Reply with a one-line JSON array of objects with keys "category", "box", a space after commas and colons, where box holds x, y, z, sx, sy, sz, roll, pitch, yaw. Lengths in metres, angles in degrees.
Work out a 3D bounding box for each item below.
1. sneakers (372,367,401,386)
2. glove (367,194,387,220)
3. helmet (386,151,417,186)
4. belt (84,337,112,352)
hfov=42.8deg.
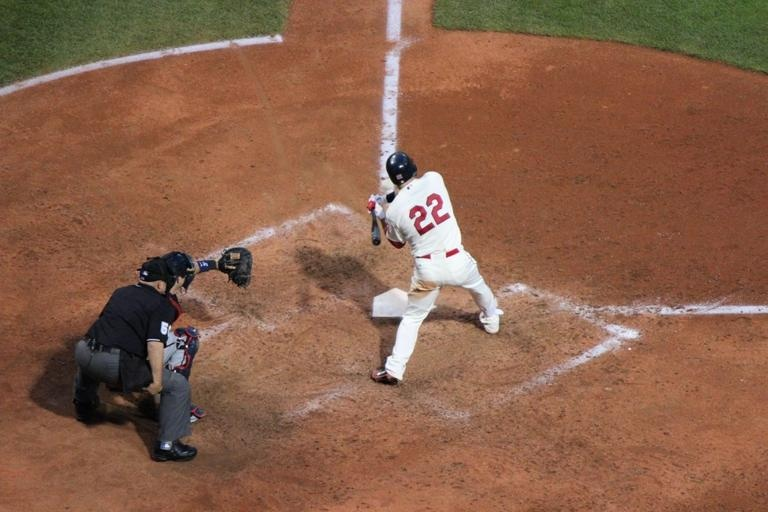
[{"category": "sneakers", "box": [0.024, 1.838, 14.948, 0.417, 0.170, 0.220, 17, 33, 17]}, {"category": "glove", "box": [-0.074, -0.798, 14.904, 0.360, 0.205, 0.444, -8, 81, 40]}, {"category": "helmet", "box": [0.248, -1.312, 14.812, 0.389, 0.597, 0.558, -16, 78, -1]}, {"category": "belt", "box": [-3.962, 1.243, 13.550, 0.273, 0.212, 0.084, 23, 97, 44]}]
